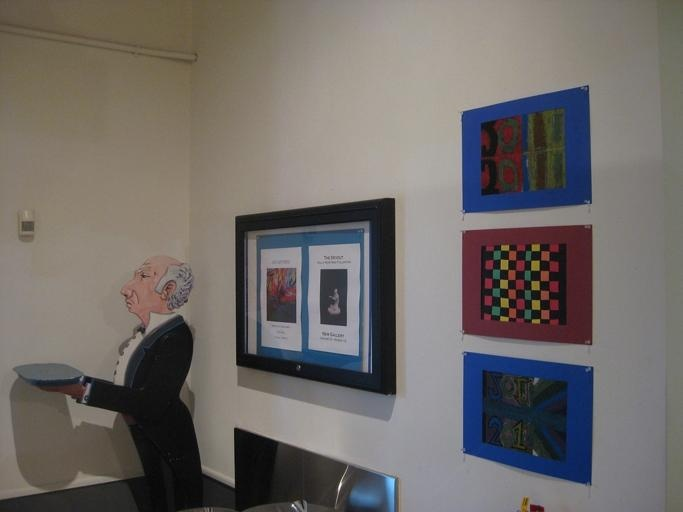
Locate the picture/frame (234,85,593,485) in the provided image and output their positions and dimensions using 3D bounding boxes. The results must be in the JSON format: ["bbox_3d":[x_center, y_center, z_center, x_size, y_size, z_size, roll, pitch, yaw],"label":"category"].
[{"bbox_3d":[0.242,0.087,2.225,1.416,1.035,0.193,1,-1,28],"label":"picture/frame"}]
